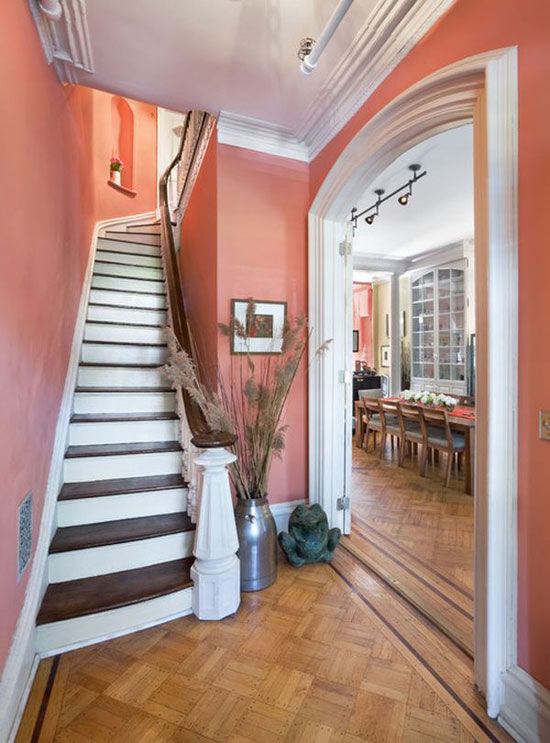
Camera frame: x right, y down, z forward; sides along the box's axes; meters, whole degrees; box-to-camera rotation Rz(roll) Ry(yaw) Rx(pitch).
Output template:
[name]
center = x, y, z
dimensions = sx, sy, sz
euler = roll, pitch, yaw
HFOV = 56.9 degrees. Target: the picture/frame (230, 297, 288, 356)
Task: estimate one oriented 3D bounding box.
[picture/frame]
center = -0.116, -0.260, 3.040
dimensions = 0.023, 0.325, 0.358
euler = 2, 3, 41
